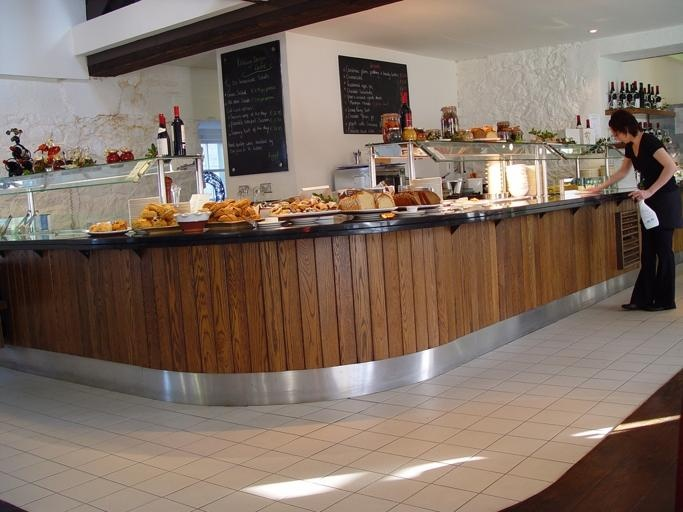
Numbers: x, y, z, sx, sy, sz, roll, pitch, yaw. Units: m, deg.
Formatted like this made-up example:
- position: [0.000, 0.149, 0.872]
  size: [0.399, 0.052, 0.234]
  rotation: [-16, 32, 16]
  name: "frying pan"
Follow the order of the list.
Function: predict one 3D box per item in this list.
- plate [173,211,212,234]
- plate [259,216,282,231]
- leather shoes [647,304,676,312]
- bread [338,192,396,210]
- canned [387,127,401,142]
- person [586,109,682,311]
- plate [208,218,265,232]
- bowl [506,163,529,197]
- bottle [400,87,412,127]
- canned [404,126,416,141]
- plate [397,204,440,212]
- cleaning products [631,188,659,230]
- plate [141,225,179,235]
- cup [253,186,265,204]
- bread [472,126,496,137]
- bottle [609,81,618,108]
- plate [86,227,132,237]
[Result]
- position: [-1.013, -0.228, 3.410]
  size: [0.228, 0.139, 0.267]
  rotation: [-7, 6, -15]
  name: "plate"
- position: [-0.475, -0.211, 3.290]
  size: [0.116, 0.034, 0.115]
  rotation: [-8, 12, -27]
  name: "plate"
- position: [3.048, 0.492, 4.785]
  size: [0.265, 0.097, 0.086]
  rotation: [-9, -8, 22]
  name: "leather shoes"
- position: [0.163, -0.377, 3.473]
  size: [0.271, 0.091, 0.192]
  rotation: [0, 3, 13]
  name: "bread"
- position: [0.473, -1.081, 4.499]
  size: [0.153, 0.121, 0.143]
  rotation: [-2, 5, -24]
  name: "canned"
- position: [3.002, -0.464, 4.854]
  size: [0.607, 1.938, 0.578]
  rotation: [-5, 6, 19]
  name: "person"
- position: [-0.747, -0.206, 3.371]
  size: [0.452, 0.073, 0.130]
  rotation: [-2, 7, 28]
  name: "plate"
- position: [1.841, -0.783, 5.215]
  size: [0.228, 0.328, 0.112]
  rotation: [-4, 6, 20]
  name: "bowl"
- position: [0.577, -1.317, 4.577]
  size: [0.099, 0.373, 0.447]
  rotation: [-6, 5, 8]
  name: "bottle"
- position: [0.599, -1.067, 4.401]
  size: [0.123, 0.120, 0.197]
  rotation: [-5, 6, 7]
  name: "canned"
- position: [0.567, -0.339, 3.591]
  size: [0.120, 0.057, 0.448]
  rotation: [-1, 7, 38]
  name: "plate"
- position: [2.892, -0.433, 4.724]
  size: [0.204, 0.381, 0.302]
  rotation: [-3, 6, 31]
  name: "cleaning products"
- position: [-1.291, -0.184, 3.546]
  size: [0.266, 0.040, 0.337]
  rotation: [-7, 6, -21]
  name: "plate"
- position: [-1.180, -0.862, 6.950]
  size: [0.103, 0.205, 0.238]
  rotation: [-11, 8, -42]
  name: "cup"
- position: [1.449, -1.243, 5.075]
  size: [0.177, 0.096, 0.173]
  rotation: [1, 7, 15]
  name: "bread"
- position: [4.541, -2.668, 8.319]
  size: [0.117, 0.478, 0.379]
  rotation: [-3, 6, 36]
  name: "bottle"
- position: [-1.678, -0.167, 3.593]
  size: [0.277, 0.041, 0.388]
  rotation: [-7, 6, -23]
  name: "plate"
